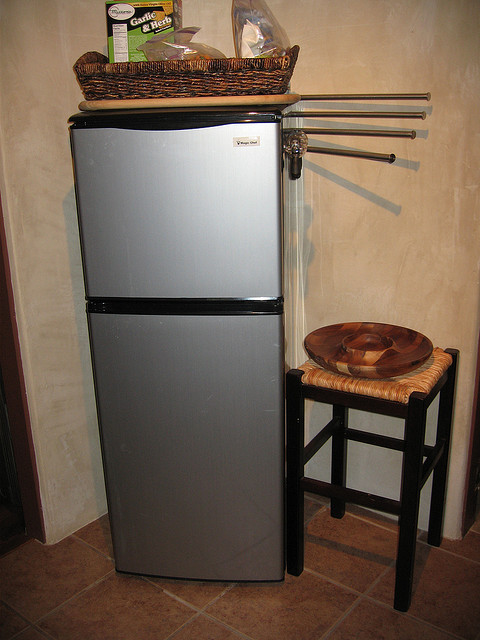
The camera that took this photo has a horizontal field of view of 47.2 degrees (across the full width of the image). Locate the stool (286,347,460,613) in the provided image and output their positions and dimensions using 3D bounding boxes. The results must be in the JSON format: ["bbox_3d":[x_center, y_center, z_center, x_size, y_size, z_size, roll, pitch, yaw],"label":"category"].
[{"bbox_3d":[0.337,0.316,1.573,0.454,0.681,0.490,11,24,24],"label":"stool"}]

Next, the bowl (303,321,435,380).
[{"bbox_3d":[0.326,0.082,1.422,0.316,0.070,0.360,1,15,12],"label":"bowl"}]

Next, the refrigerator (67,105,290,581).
[{"bbox_3d":[-0.094,0.069,1.591,0.518,1.203,0.541,0,12,7],"label":"refrigerator"}]

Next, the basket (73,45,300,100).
[{"bbox_3d":[-0.119,-0.535,1.200,0.486,0.092,0.061,-1,14,7],"label":"basket"}]
